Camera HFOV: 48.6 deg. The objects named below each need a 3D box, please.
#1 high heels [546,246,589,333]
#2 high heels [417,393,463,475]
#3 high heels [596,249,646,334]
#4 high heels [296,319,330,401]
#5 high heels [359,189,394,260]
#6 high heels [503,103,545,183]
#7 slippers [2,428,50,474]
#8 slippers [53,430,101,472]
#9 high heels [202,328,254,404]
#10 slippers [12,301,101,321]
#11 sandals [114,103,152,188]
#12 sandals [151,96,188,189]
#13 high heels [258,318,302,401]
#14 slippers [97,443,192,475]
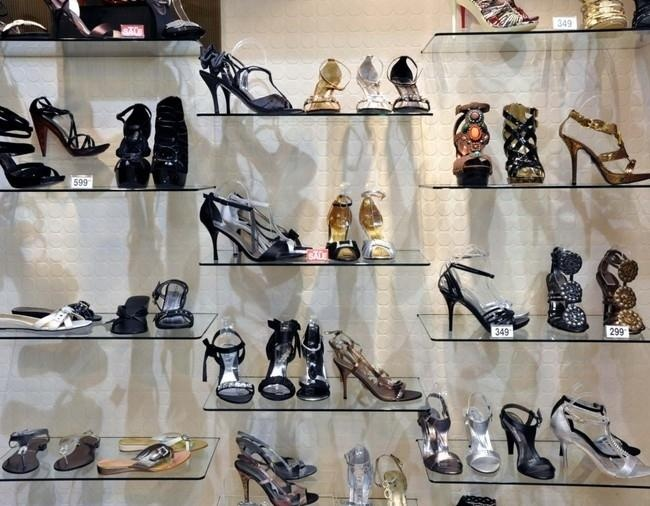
[{"bbox_3d":[1.320,0.193,4.015,0.149,0.230,0.550,-3,41,13],"label":"high heels"},{"bbox_3d":[0.634,1.009,4.002,0.150,0.189,0.500,-3,28,1],"label":"high heels"},{"bbox_3d":[1.623,0.205,4.011,0.174,0.225,0.554,-4,32,11],"label":"high heels"},{"bbox_3d":[-0.074,0.576,4.003,0.133,0.175,0.467,-1,42,-1],"label":"high heels"},{"bbox_3d":[0.278,-0.142,4.027,0.137,0.449,0.167,-3,-20,-2],"label":"high heels"},{"bbox_3d":[1.068,-0.593,3.942,0.143,0.564,0.205,-4,-26,10],"label":"high heels"},{"bbox_3d":[-1.675,1.100,4.014,0.116,0.133,0.335,4,5,-4],"label":"slippers"},{"bbox_3d":[-1.386,1.109,4.028,0.233,0.171,0.195,-3,0,-18],"label":"slippers"},{"bbox_3d":[-0.558,0.631,3.992,0.196,0.213,0.501,-3,17,-7],"label":"high heels"},{"bbox_3d":[-1.523,0.327,4.072,0.472,0.134,0.190,0,8,-1],"label":"slippers"},{"bbox_3d":[-1.054,-0.595,3.989,0.152,0.594,0.221,0,-21,-6],"label":"sandals"},{"bbox_3d":[-0.872,-0.609,3.996,0.169,0.560,0.167,-2,-5,-8],"label":"sandals"},{"bbox_3d":[-0.258,0.581,3.992,0.157,0.200,0.511,5,45,-4],"label":"high heels"},{"bbox_3d":[-1.014,1.111,3.959,0.439,0.141,0.193,-2,6,-17],"label":"slippers"}]
